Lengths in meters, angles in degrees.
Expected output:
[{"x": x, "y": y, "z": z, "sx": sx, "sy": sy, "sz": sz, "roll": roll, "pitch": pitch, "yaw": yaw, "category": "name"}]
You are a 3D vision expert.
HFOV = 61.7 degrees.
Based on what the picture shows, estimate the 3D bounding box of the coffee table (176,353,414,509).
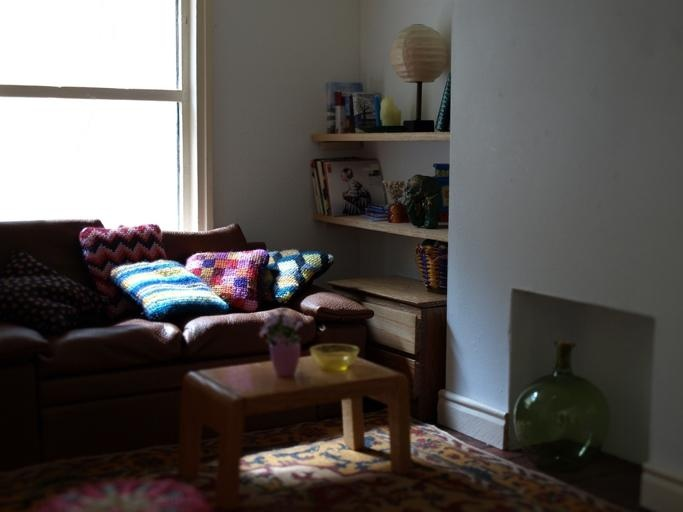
[{"x": -0.280, "y": 0.553, "z": 2.271, "sx": 0.880, "sy": 0.415, "sz": 0.498, "roll": -3, "pitch": 7, "yaw": -31, "category": "coffee table"}]

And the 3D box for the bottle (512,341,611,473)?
[{"x": 0.999, "y": 0.648, "z": 2.577, "sx": 0.386, "sy": 0.510, "sz": 0.382, "roll": 4, "pitch": -12, "yaw": 1, "category": "bottle"}]

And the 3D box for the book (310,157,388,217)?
[{"x": 0.058, "y": -0.477, "z": 3.965, "sx": 0.434, "sy": 0.365, "sz": 0.141, "roll": -2, "pitch": -6, "yaw": -22, "category": "book"}]

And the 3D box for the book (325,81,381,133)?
[{"x": 0.074, "y": -1.014, "z": 3.891, "sx": 0.282, "sy": 0.344, "sz": 0.322, "roll": -3, "pitch": 14, "yaw": -18, "category": "book"}]

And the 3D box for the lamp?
[{"x": 0.488, "y": -1.068, "z": 3.444, "sx": 0.315, "sy": 0.608, "sz": 0.242, "roll": -6, "pitch": 15, "yaw": -28, "category": "lamp"}]

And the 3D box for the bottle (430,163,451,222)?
[{"x": 0.575, "y": -0.359, "z": 3.275, "sx": 0.075, "sy": 0.325, "sz": 0.173, "roll": 2, "pitch": 13, "yaw": 4, "category": "bottle"}]

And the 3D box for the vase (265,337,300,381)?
[{"x": -0.227, "y": 0.403, "z": 2.276, "sx": 0.149, "sy": 0.159, "sz": 0.142, "roll": -1, "pitch": -2, "yaw": -6, "category": "vase"}]
